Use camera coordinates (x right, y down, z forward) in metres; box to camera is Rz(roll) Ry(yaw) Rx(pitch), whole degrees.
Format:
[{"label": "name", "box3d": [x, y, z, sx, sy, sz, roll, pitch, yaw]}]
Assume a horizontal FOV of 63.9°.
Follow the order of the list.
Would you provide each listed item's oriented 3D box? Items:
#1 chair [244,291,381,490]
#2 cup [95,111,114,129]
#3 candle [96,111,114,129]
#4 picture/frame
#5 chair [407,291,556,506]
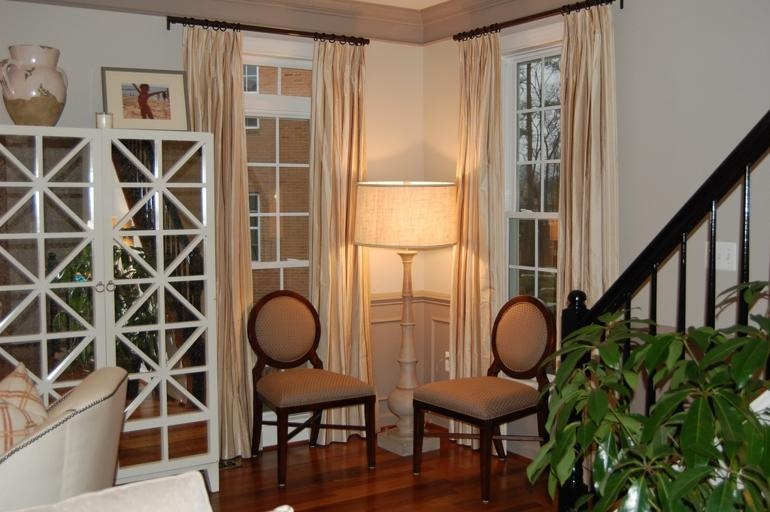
[{"label": "chair", "box3d": [-0.586, 0.935, 4.824, 0.903, 1.284, 0.916, -3, 7, -24]}, {"label": "cup", "box3d": [-1.844, -0.881, 4.086, 0.104, 0.126, 0.108, 0, -3, 0]}, {"label": "candle", "box3d": [-1.844, -0.886, 4.077, 0.096, 0.116, 0.097, 0, 2, -31]}, {"label": "picture/frame", "box3d": [-1.707, -1.108, 4.373, 0.623, 0.523, 0.024, 2, -24, -25]}, {"label": "chair", "box3d": [0.728, 0.932, 4.465, 0.809, 1.281, 0.760, 0, 1, -38]}]
